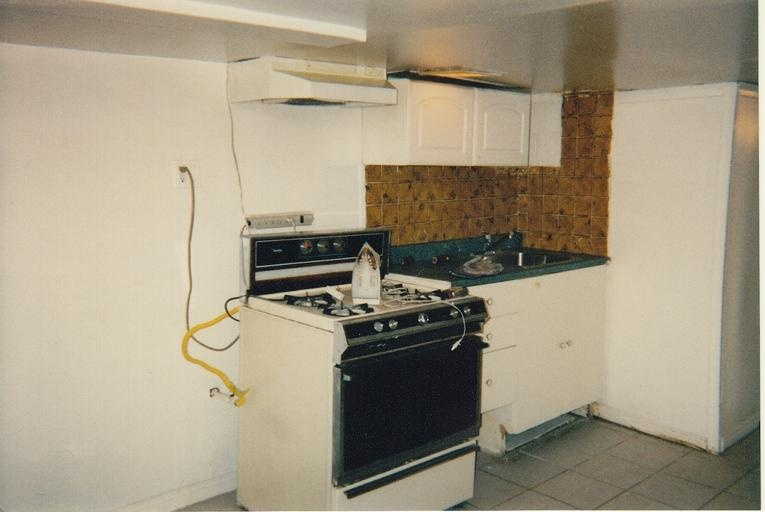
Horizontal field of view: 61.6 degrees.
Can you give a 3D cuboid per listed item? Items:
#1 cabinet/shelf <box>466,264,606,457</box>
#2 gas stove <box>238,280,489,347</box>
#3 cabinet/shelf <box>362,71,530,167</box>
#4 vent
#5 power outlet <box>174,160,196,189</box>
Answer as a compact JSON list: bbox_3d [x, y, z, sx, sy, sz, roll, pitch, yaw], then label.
[{"bbox_3d":[0.946,0.653,4.074,1.245,0.977,0.470,-7,8,-41],"label":"cabinet/shelf"},{"bbox_3d":[-0.071,0.320,3.435,1.090,0.265,0.684,-8,17,-28],"label":"gas stove"},{"bbox_3d":[0.453,-0.877,4.402,0.441,0.503,1.468,7,10,39],"label":"cabinet/shelf"},{"bbox_3d":[-0.370,-0.936,3.434,0.903,0.235,0.408,-3,15,-12],"label":"vent"},{"bbox_3d":[-1.073,-0.442,3.453,0.159,0.188,0.022,-6,9,-37],"label":"power outlet"}]
